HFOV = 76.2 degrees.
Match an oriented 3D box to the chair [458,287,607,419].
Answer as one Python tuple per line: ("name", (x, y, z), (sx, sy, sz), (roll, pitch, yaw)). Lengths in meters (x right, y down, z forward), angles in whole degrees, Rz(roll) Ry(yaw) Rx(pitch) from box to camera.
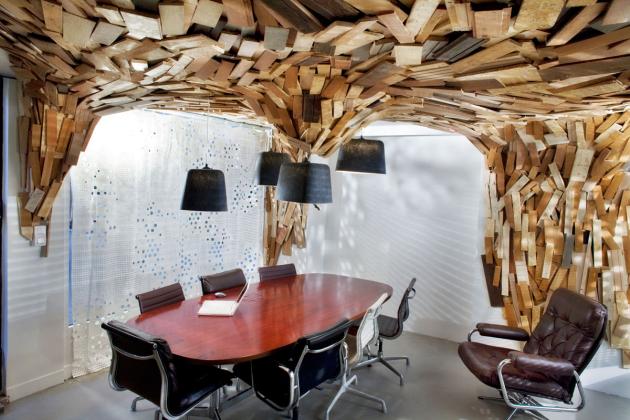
("chair", (2.182, 1.465, 4.324), (1.422, 1.476, 1.269), (3, 0, -8))

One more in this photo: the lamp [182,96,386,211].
("lamp", (-0.230, -0.388, 3.988), (1.837, 0.712, 1.078), (3, 11, 4))
